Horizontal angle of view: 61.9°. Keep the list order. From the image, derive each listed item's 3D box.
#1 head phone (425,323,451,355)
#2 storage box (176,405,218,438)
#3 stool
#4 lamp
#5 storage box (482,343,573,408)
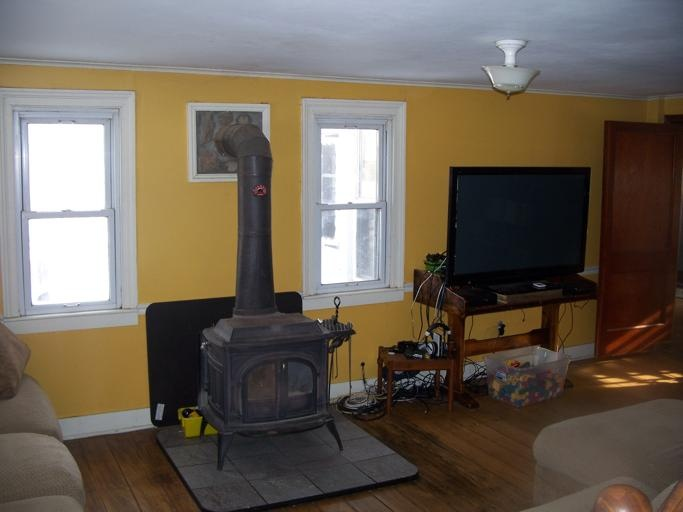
[{"bbox_3d":[0.802,0.691,4.739,0.265,0.318,0.112,-1,2,-20],"label":"head phone"},{"bbox_3d":[-1.109,1.242,4.305,0.283,0.136,0.197,1,2,-14],"label":"storage box"},{"bbox_3d":[0.597,0.931,4.772,0.696,0.552,0.502,-1,2,-13],"label":"stool"},{"bbox_3d":[1.042,-1.135,3.548,0.318,0.301,0.316,0,-1,2],"label":"lamp"},{"bbox_3d":[1.620,0.998,4.934,0.660,0.337,0.435,-2,1,-29],"label":"storage box"}]
